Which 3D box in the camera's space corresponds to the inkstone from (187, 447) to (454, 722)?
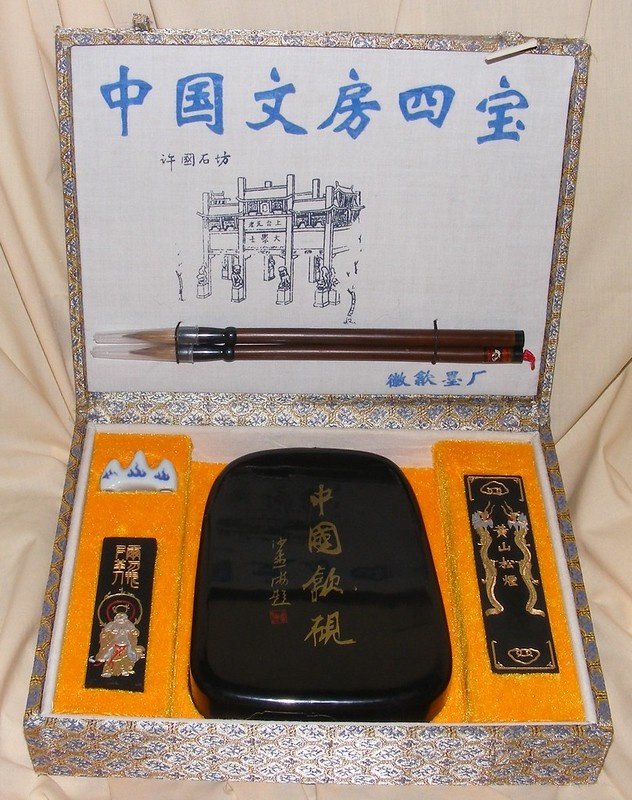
[{"bbox_3d":[0.003,0.244,1.065,0.343,0.374,0.238,0,-11,-3],"label":"inkstone"}]
